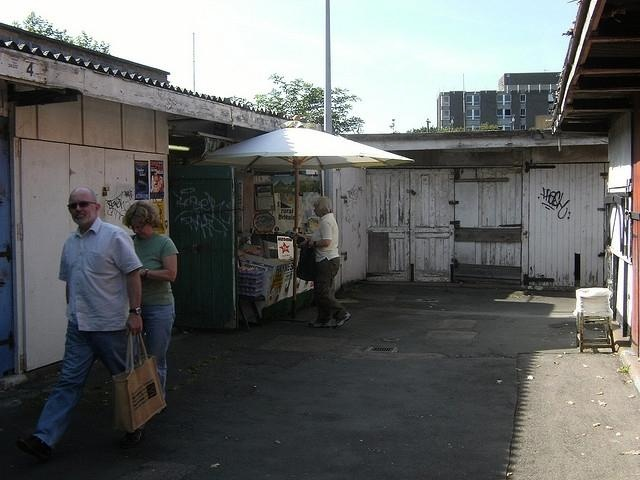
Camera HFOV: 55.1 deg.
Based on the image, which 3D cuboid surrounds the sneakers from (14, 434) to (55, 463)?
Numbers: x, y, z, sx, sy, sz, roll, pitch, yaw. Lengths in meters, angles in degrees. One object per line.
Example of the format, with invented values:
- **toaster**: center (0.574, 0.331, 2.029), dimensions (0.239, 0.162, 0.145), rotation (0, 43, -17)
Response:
- **sneakers**: center (-2.479, 1.798, 5.347), dimensions (0.262, 0.257, 0.249), rotation (-3, 6, -23)

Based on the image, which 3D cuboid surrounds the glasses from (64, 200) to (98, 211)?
- **glasses**: center (-2.138, -0.306, 5.520), dimensions (0.245, 0.085, 0.151), rotation (-2, 6, -16)

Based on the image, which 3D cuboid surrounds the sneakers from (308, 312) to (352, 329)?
- **sneakers**: center (0.157, 1.292, 10.044), dimensions (0.664, 0.286, 0.233), rotation (-5, 0, 3)

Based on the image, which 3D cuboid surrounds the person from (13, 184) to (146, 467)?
- **person**: center (-2.114, 0.713, 5.517), dimensions (0.958, 2.329, 0.398), rotation (-3, 6, -27)

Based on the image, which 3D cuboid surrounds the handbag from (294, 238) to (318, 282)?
- **handbag**: center (-0.226, 0.337, 9.989), dimensions (0.361, 0.649, 0.457), rotation (20, 20, 29)

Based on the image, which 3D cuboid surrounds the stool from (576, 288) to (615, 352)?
- **stool**: center (3.819, 1.104, 8.537), dimensions (0.685, 0.784, 0.633), rotation (5, -7, -25)

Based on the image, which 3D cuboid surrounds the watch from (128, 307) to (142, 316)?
- **watch**: center (-1.692, 0.647, 5.589), dimensions (0.083, 0.056, 0.073), rotation (0, 1, 4)

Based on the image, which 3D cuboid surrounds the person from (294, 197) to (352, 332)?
- **person**: center (0.050, 0.364, 9.883), dimensions (0.770, 2.091, 0.393), rotation (-1, 6, -3)

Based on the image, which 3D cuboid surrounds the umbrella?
- **umbrella**: center (-0.463, -0.371, 10.578), dimensions (3.076, 2.792, 3.154), rotation (1, 6, -23)

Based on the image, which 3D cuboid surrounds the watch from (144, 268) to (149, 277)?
- **watch**: center (-1.665, 0.302, 5.860), dimensions (0.044, 0.064, 0.025), rotation (0, -11, 35)

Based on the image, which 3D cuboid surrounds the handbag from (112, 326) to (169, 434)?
- **handbag**: center (-1.650, 1.303, 5.586), dimensions (0.299, 0.929, 0.537), rotation (1, 6, 11)
